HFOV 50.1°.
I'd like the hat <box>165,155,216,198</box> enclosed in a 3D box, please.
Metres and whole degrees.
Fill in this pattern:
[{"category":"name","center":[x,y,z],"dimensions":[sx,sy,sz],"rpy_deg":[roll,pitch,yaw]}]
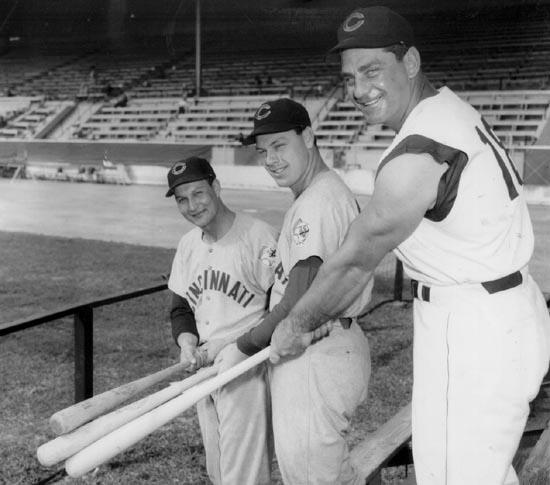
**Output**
[{"category":"hat","center":[-0.337,-0.283,2.385],"dimensions":[0.127,0.103,0.185],"rpy_deg":[-23,-1,28]}]

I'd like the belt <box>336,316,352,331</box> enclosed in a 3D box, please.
[{"category":"belt","center":[0.214,0.262,1.848],"dimensions":[0.029,0.046,0.036],"rpy_deg":[19,-31,-25]}]

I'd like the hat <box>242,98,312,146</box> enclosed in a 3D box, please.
[{"category":"hat","center":[0.008,-0.423,2.015],"dimensions":[0.179,0.111,0.128],"rpy_deg":[-22,13,-38]}]
